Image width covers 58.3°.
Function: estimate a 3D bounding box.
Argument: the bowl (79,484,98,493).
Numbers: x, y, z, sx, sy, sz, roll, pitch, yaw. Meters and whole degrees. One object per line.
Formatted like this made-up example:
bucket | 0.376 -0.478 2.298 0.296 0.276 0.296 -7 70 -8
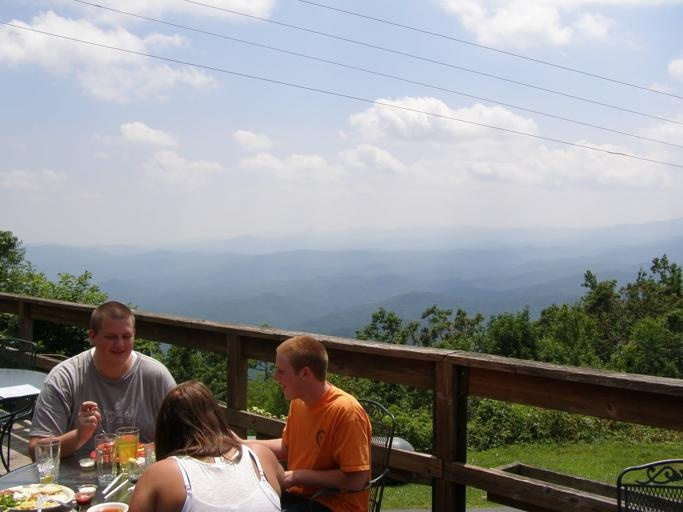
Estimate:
bowl | -1.127 1.029 2.725 0.077 0.022 0.111 3 -7 -24
